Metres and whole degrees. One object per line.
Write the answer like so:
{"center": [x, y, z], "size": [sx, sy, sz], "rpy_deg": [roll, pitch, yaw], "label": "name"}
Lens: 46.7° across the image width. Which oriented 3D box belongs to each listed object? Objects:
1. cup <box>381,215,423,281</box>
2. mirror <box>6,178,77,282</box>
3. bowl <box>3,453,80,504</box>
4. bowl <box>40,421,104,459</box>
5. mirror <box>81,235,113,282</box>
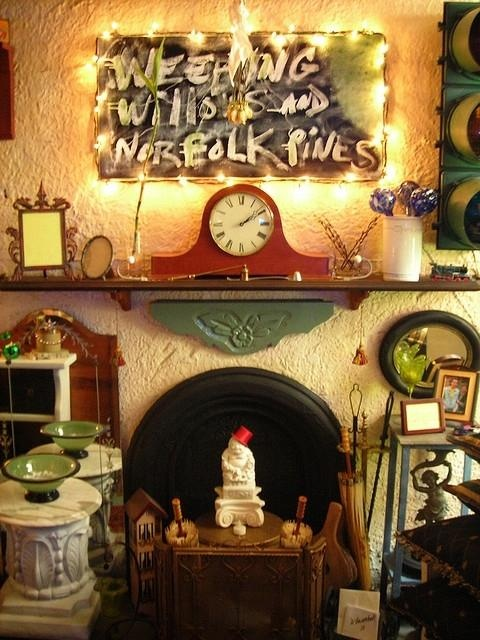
{"center": [0.604, -0.262, 2.079], "size": [0.134, 0.238, 0.102], "rpy_deg": [1, -5, 12], "label": "cup"}
{"center": [-0.792, -0.361, 2.251], "size": [0.260, 0.416, 0.290], "rpy_deg": [4, -5, -18], "label": "mirror"}
{"center": [-0.795, 0.633, 2.230], "size": [0.283, 0.158, 0.280], "rpy_deg": [2, -5, 0], "label": "bowl"}
{"center": [-0.715, 0.487, 2.368], "size": [0.180, 0.088, 0.182], "rpy_deg": [5, 5, 0], "label": "bowl"}
{"center": [-0.546, -0.234, 2.188], "size": [0.160, 0.159, 0.032], "rpy_deg": [-10, -15, 43], "label": "mirror"}
